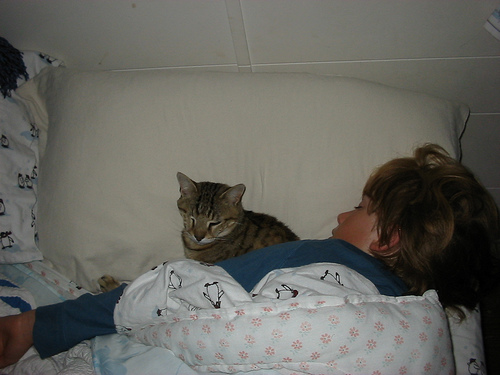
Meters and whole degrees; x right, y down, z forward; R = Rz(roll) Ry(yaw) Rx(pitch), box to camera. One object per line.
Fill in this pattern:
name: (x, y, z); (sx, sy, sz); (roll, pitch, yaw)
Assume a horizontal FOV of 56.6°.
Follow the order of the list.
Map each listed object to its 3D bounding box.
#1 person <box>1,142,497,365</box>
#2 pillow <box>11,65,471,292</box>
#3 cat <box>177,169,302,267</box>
person: (0.079, 0.118, 1.867); (1.899, 0.708, 0.884); (-1, -8, -6)
pillow: (-0.070, -0.125, 1.871); (1.403, 0.866, 0.329); (1, -14, 1)
cat: (-0.101, 0.121, 1.974); (0.570, 0.423, 0.265); (-1, 23, -5)
